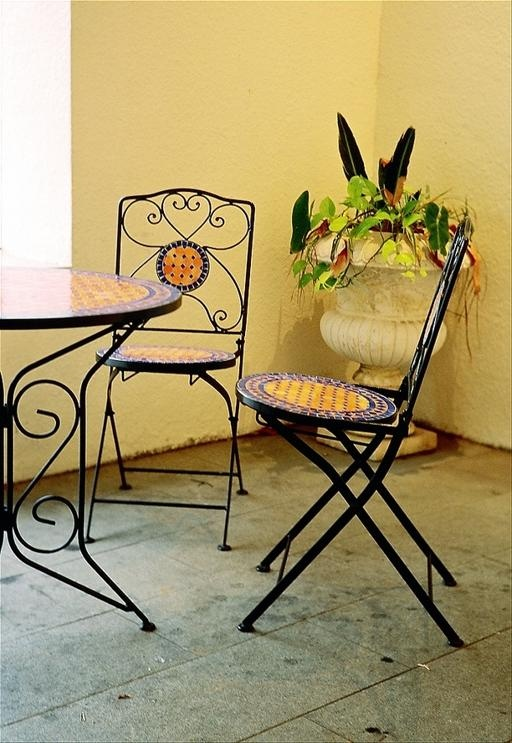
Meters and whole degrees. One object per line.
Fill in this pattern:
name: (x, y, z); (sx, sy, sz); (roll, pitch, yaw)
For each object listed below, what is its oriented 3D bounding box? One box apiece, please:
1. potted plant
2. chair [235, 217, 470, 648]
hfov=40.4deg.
potted plant: (0.511, -0.400, 3.004); (0.905, 1.204, 0.783); (0, 19, -3)
chair: (0.210, 0.115, 1.633); (0.637, 0.879, 0.451); (-1, 7, -3)
